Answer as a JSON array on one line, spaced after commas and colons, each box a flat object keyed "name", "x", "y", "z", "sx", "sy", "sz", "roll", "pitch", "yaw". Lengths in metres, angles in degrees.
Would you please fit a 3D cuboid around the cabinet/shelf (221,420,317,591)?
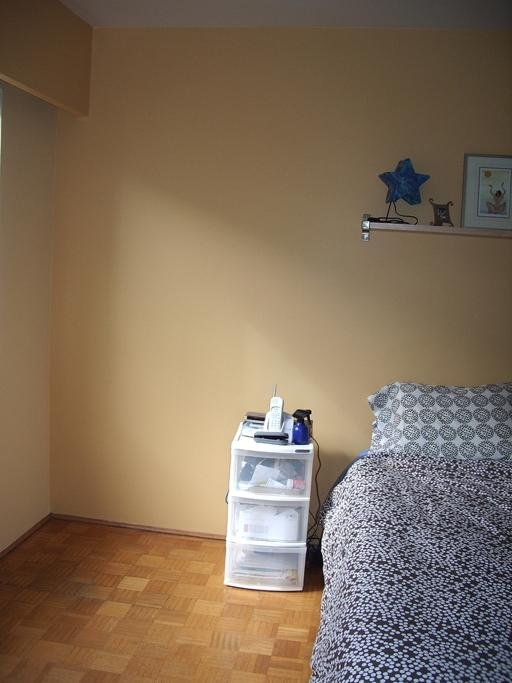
[{"name": "cabinet/shelf", "x": 0.056, "y": 0.709, "z": 2.464, "sx": 0.402, "sy": 0.656, "sz": 0.498, "roll": 2, "pitch": 11, "yaw": -6}]
